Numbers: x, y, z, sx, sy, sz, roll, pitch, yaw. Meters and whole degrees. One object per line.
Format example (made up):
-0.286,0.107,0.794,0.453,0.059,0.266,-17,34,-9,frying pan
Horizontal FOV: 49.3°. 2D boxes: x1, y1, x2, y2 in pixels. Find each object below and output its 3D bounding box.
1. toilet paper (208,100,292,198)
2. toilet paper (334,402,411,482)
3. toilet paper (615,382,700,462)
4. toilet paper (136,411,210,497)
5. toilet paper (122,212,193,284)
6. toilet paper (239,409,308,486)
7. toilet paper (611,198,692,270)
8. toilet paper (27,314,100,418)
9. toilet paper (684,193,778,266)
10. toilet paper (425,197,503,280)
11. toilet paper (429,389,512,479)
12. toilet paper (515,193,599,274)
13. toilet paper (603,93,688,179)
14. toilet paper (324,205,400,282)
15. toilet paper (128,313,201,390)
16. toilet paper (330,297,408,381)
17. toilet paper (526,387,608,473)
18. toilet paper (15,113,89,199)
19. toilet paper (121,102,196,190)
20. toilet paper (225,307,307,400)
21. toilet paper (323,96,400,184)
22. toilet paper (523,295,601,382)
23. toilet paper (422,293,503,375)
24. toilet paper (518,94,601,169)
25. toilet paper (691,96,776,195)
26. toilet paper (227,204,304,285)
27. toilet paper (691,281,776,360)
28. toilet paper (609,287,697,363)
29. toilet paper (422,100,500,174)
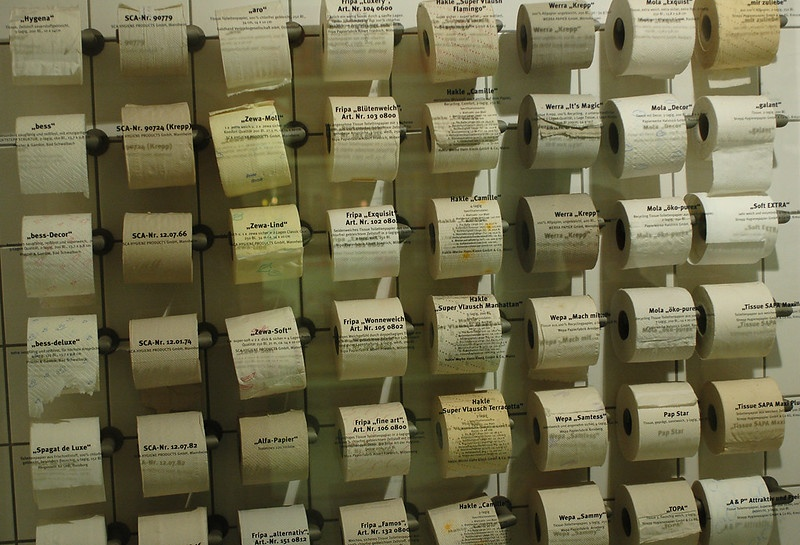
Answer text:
-0.382,-0.314,2.210,0.183,0.215,0.070,-9,11,-16,toilet paper
-0.075,0.447,2.329,0.184,0.211,0.163,-1,-1,-23,toilet paper
0.704,0.404,2.406,0.156,0.253,0.182,-1,-4,1,toilet paper
-0.574,0.461,2.203,0.156,0.216,0.159,-2,8,-13,toilet paper
-0.607,-0.063,2.203,0.150,0.221,0.148,0,5,-9,toilet paper
-0.320,0.435,2.313,0.183,0.220,0.171,-2,21,3,toilet paper
0.706,-0.129,2.378,0.203,0.220,0.196,-7,16,-2,toilet paper
-0.862,0.277,2.233,0.174,0.184,0.265,11,48,-29,toilet paper
0.892,-0.141,2.404,0.182,0.194,0.169,0,24,29,toilet paper
0.169,-0.120,2.320,0.155,0.277,0.202,-3,5,-16,toilet paper
0.176,0.383,2.347,0.162,0.288,0.209,-4,1,-18,toilet paper
0.456,-0.102,2.358,0.185,0.207,0.158,1,-2,28,toilet paper
0.672,-0.371,2.372,0.191,0.225,0.200,-7,15,-10,toilet paper
-0.103,-0.075,2.236,0.180,0.204,0.165,-2,-34,-15,toilet paper
-0.592,0.199,2.201,0.172,0.213,0.151,-4,-26,-12,toilet paper
-0.088,0.148,2.288,0.157,0.258,0.187,-3,-1,-15,toilet paper
0.449,0.411,2.313,0.171,0.306,0.206,-3,1,-14,toilet paper
-0.888,-0.353,2.226,0.187,0.245,0.157,-11,51,-31,toilet paper
-0.601,-0.323,2.217,0.196,0.252,0.173,-3,16,-18,toilet paper
-0.373,0.228,2.293,0.251,0.267,0.309,1,4,0,toilet paper
-0.101,-0.354,2.307,0.209,0.267,0.200,-3,7,-18,toilet paper
0.430,0.144,2.341,0.183,0.336,0.187,0,3,-12,toilet paper
0.156,0.154,2.291,0.156,0.276,0.195,-2,3,-16,toilet paper
0.433,-0.384,2.356,0.180,0.216,0.168,0,11,3,toilet paper
0.915,-0.360,2.393,0.157,0.279,0.156,-5,13,-4,toilet paper
-0.353,-0.056,2.288,0.190,0.224,0.213,-4,-3,-22,toilet paper
0.917,0.130,2.418,0.180,0.217,0.164,-5,-1,-5,toilet paper
0.705,0.131,2.398,0.175,0.206,0.168,-5,23,3,toilet paper
0.156,-0.354,2.273,0.173,0.195,0.164,-5,29,-15,toilet paper
